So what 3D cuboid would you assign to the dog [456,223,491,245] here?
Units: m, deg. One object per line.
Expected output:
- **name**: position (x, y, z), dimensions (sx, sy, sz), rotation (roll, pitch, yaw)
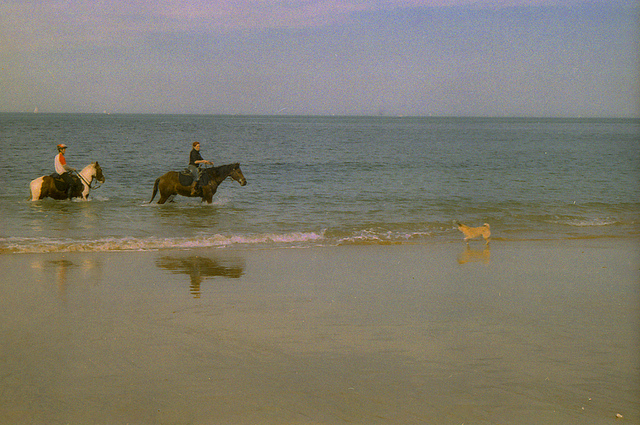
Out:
- **dog**: position (5.691, 0.789, 31.720), dimensions (1.126, 0.817, 0.583), rotation (6, 15, 19)
